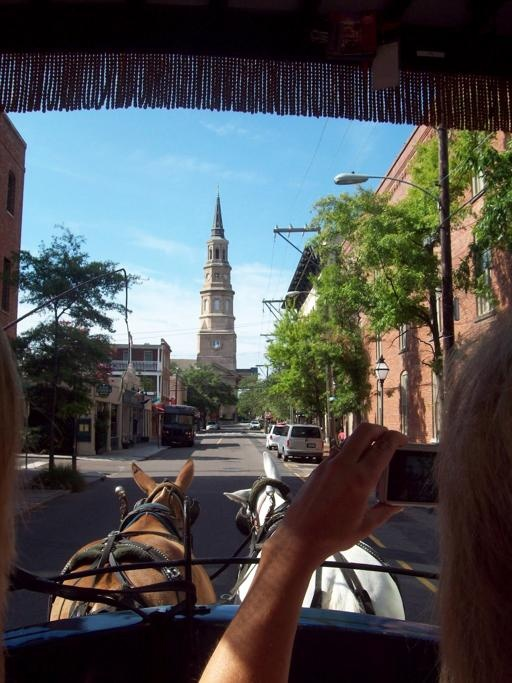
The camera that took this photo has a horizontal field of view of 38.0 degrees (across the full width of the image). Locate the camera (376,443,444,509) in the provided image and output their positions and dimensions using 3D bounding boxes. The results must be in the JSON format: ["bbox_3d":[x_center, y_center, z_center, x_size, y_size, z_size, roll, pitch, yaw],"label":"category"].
[{"bbox_3d":[0.312,0.284,1.498,0.173,0.128,0.041,0,-19,-13],"label":"camera"}]

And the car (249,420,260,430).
[{"bbox_3d":[-0.139,13.966,125.259,1.751,1.436,3.191,0,-8,-3],"label":"car"}]
